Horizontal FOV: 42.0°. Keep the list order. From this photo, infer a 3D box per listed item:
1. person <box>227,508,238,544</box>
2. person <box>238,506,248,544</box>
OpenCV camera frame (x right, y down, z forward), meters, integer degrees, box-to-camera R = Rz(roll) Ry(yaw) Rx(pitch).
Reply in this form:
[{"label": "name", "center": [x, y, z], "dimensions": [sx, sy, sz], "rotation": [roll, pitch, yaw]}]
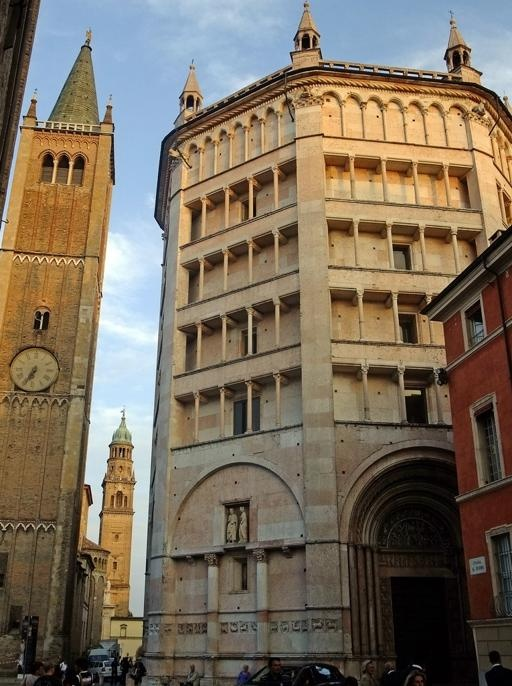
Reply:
[{"label": "person", "center": [-0.983, 7.167, 26.190], "dimensions": [0.264, 1.407, 0.611], "rotation": [16, -28, -32]}, {"label": "person", "center": [-0.523, 7.001, 25.801], "dimensions": [0.255, 1.442, 0.580], "rotation": [11, -26, -24]}]
